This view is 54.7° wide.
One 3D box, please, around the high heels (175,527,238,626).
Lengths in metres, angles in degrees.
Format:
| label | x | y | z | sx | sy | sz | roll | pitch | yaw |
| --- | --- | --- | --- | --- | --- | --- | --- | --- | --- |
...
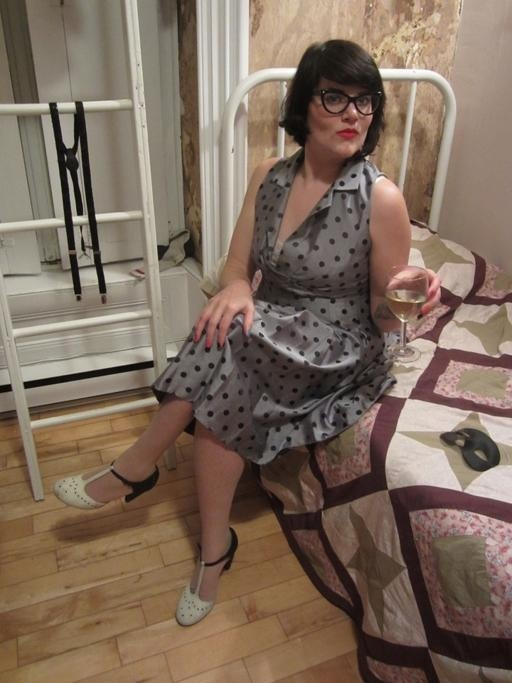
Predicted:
| label | x | y | z | sx | sy | sz | roll | pitch | yaw |
| --- | --- | --- | --- | --- | --- | --- | --- | --- | --- |
| high heels | -0.091 | 0.475 | 1.063 | 0.067 | 0.095 | 0.224 | 15 | 40 | 18 |
